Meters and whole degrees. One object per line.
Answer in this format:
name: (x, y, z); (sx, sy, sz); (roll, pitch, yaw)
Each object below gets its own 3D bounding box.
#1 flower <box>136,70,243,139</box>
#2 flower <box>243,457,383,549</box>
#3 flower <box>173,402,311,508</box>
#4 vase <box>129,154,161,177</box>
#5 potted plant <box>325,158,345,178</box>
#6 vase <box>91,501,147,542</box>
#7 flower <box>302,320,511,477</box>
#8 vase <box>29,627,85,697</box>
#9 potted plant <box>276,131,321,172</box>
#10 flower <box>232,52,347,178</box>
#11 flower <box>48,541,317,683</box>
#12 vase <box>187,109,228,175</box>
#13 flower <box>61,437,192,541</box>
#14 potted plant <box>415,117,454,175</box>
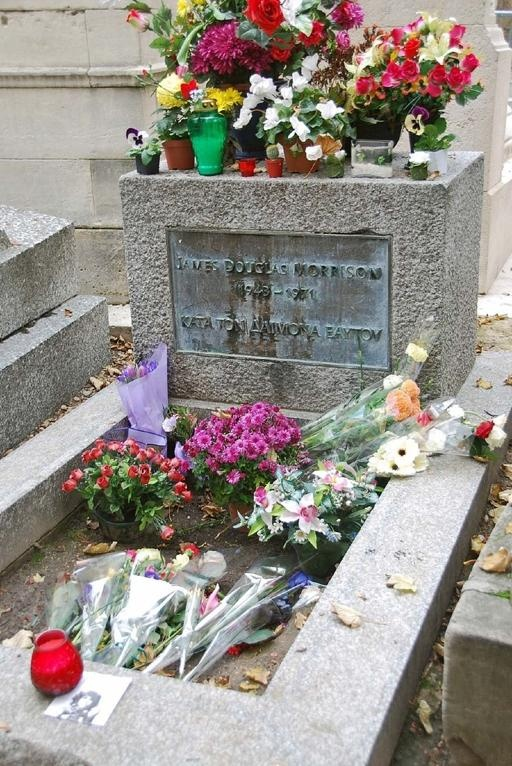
flower: (-0.326, -1.322, 3.343); (0.309, 0.158, 0.233); (-4, 8, -22)
flower: (0.207, 0.469, 2.634); (0.414, 0.223, 0.383); (5, 35, 10)
flower: (-0.066, 0.275, 3.126); (0.542, 0.479, 0.462); (-16, 28, -7)
vase: (-0.522, -1.045, 3.388); (0.110, 0.074, 0.106); (-14, 25, -33)
potted plant: (0.341, -0.923, 3.057); (0.075, 0.080, 0.101); (-2, 14, 5)
vase: (-0.589, 0.605, 2.988); (0.176, 0.110, 0.170); (0, 16, -3)
flower: (0.607, 0.079, 3.041); (0.711, 0.283, 0.310); (-36, 6, 17)
vase: (-0.495, 0.685, 1.736); (0.133, 0.122, 0.132); (3, 13, 15)
potted plant: (0.193, -1.038, 3.158); (0.183, 0.157, 0.180); (1, 22, 3)
flower: (0.161, -1.169, 3.175); (0.485, 0.431, 0.488); (0, 26, 7)
flower: (-0.276, 0.748, 2.331); (0.494, 0.196, 0.483); (-6, -7, 11)
vase: (-0.219, -1.097, 3.262); (0.169, 0.280, 0.165); (-5, 15, -7)
flower: (-0.503, 0.465, 3.014); (0.439, 0.399, 0.349); (-1, 14, 5)
potted plant: (0.754, -0.982, 2.944); (0.141, 0.178, 0.145); (-3, 21, -4)
